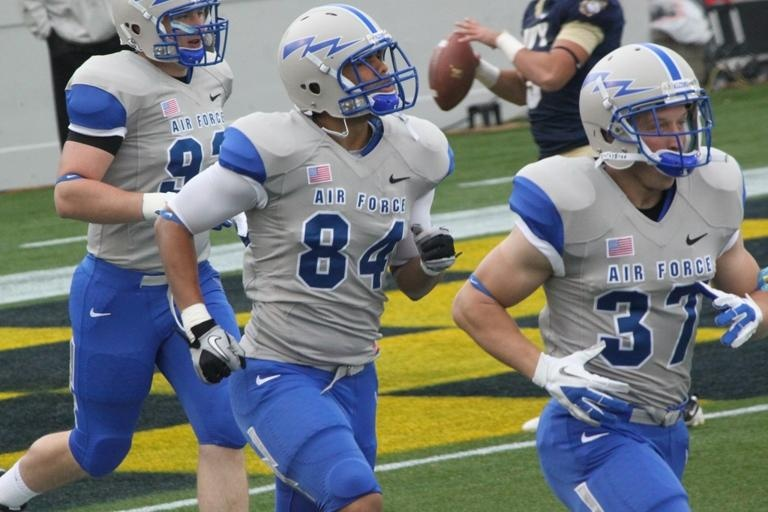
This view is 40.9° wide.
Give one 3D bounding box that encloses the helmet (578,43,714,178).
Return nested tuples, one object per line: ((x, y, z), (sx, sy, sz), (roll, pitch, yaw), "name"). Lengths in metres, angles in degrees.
((1.005, -0.554, 3.882), (0.551, 0.429, 0.444), (13, 18, 43), "helmet")

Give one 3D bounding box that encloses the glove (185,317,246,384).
((-0.674, 0.374, 4.077), (0.245, 0.235, 0.109), (-33, -6, 2), "glove")

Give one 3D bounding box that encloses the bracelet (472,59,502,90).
((0.624, -1.122, 6.279), (0.101, 0.116, 0.202), (39, 2, -12), "bracelet")

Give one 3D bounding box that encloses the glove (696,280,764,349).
((1.376, 0.231, 4.061), (0.316, 0.114, 0.216), (-29, 77, -43), "glove")

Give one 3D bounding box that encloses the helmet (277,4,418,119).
((-0.125, -0.783, 4.193), (0.583, 0.350, 0.418), (12, 26, 17), "helmet")

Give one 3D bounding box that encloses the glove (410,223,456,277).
((0.256, -0.039, 4.322), (0.159, 0.180, 0.210), (-28, 38, -26), "glove")

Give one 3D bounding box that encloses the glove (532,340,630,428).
((0.718, 0.471, 3.792), (0.343, 0.116, 0.260), (21, 58, 9), "glove")

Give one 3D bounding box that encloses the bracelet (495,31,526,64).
((0.727, -1.194, 5.910), (0.205, 0.133, 0.083), (46, -4, 29), "bracelet")
